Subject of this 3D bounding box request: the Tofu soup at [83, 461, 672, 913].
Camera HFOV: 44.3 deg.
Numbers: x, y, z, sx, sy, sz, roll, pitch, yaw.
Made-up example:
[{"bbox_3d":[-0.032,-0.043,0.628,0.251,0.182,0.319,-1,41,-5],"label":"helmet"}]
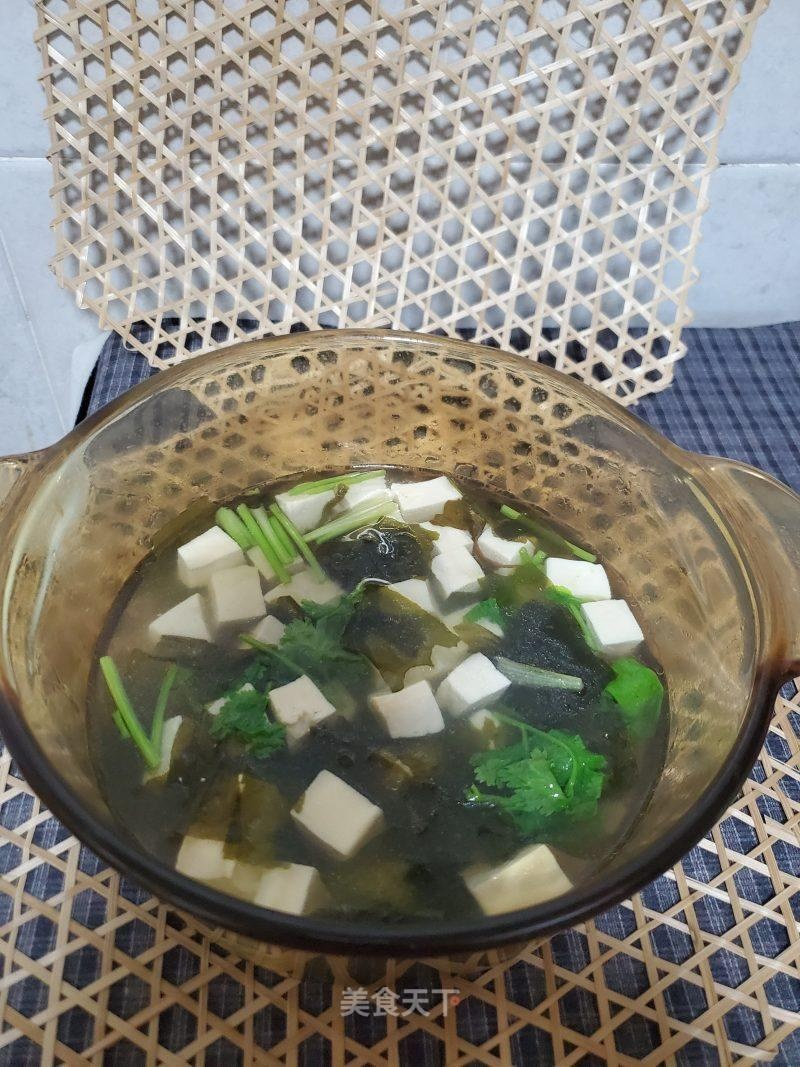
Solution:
[{"bbox_3d":[-0.012,0.086,0.650,0.374,0.035,0.358,10,42,4],"label":"Tofu soup"}]
